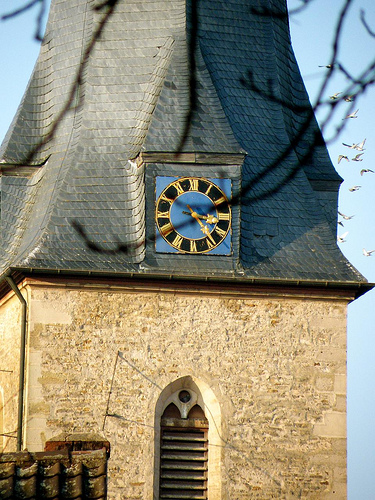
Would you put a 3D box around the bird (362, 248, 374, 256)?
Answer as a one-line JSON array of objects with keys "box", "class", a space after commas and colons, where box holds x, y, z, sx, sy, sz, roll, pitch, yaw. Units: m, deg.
[{"box": [1.465, 0.038, 12.857, 0.047, 0.035, 0.067, 16, -14, -40], "class": "bird"}]

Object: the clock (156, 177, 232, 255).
[{"box": [0.069, -0.450, 21.163, 0.995, 0.063, 1.129, 1, -59, 2], "class": "clock"}]
